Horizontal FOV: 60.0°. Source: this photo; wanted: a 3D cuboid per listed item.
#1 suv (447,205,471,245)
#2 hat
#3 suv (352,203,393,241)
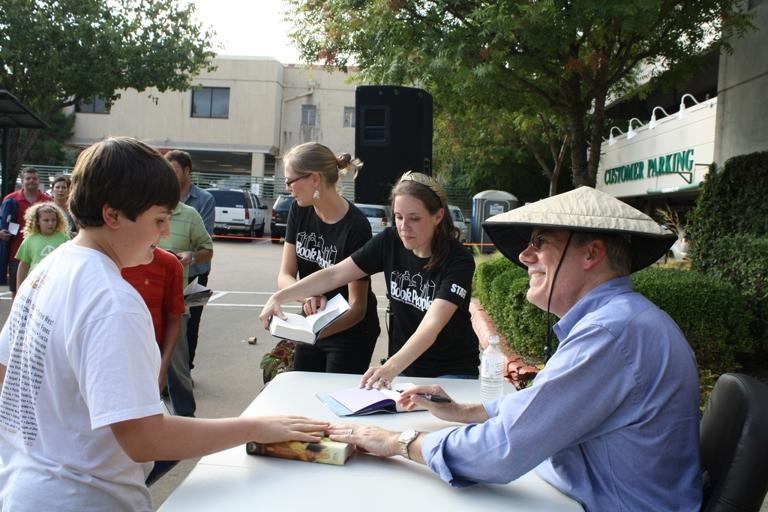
[{"bbox_3d":[2.726,-1.113,24.036,1.283,1.252,2.754,0,1,3],"label":"suv"},{"bbox_3d":[0.974,-0.145,3.380,0.718,0.265,0.583,7,-23,8],"label":"hat"},{"bbox_3d":[-0.302,-1.447,21.812,1.115,0.973,2.520,2,13,7],"label":"suv"}]
